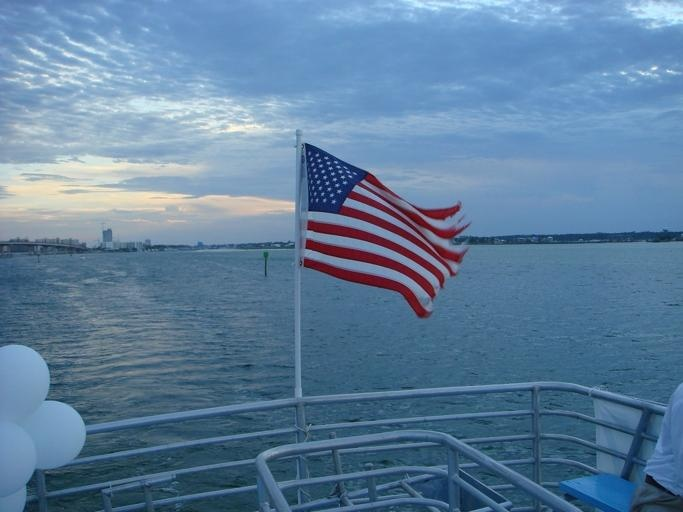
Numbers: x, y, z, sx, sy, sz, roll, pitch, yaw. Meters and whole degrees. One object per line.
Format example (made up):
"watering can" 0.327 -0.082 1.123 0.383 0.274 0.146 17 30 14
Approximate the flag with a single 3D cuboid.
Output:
"flag" 0.579 -0.345 10.049 2.426 2.622 1.047 1 8 -5
